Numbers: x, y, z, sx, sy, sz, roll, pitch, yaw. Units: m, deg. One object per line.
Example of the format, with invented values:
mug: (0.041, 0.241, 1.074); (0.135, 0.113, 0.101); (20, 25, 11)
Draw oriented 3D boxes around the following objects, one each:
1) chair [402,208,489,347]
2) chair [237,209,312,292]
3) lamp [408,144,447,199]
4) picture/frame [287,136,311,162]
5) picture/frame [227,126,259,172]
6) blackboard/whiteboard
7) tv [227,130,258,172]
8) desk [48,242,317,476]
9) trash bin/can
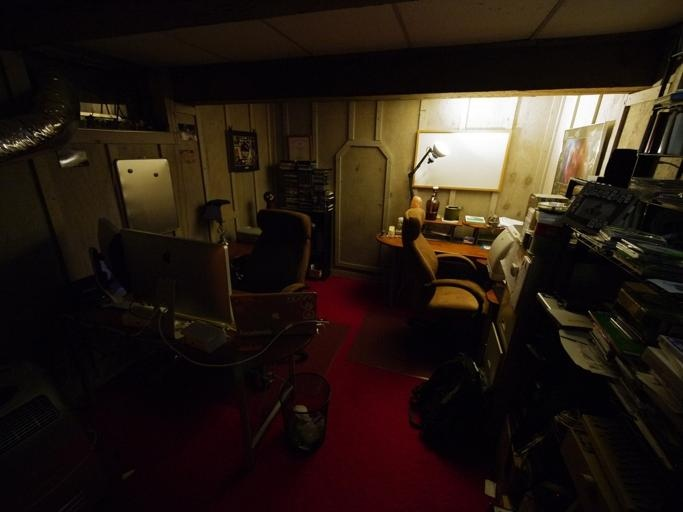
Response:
chair: (0.989, 0.214, 4.381); (0.846, 1.221, 1.068); (10, 20, 16)
chair: (-0.523, -0.042, 4.306); (0.665, 0.873, 0.720); (8, 9, 25)
lamp: (0.953, -0.940, 5.037); (0.390, 0.570, 0.201); (11, 50, 20)
picture/frame: (-0.509, -1.311, 5.634); (0.325, 0.324, 0.047); (6, 16, 17)
picture/frame: (-1.111, -1.179, 5.198); (0.054, 0.423, 0.545); (3, 12, 25)
blackboard/whiteboard: (1.317, -1.021, 4.890); (0.667, 0.491, 0.029); (7, 26, 13)
tv: (-1.109, -1.177, 5.187); (0.043, 0.438, 0.504); (4, 13, 28)
desk: (-1.200, 0.540, 3.481); (1.924, 1.488, 0.979); (7, 24, 16)
trash bin/can: (-0.250, 1.243, 3.586); (0.421, 0.523, 0.490); (0, 17, -4)
